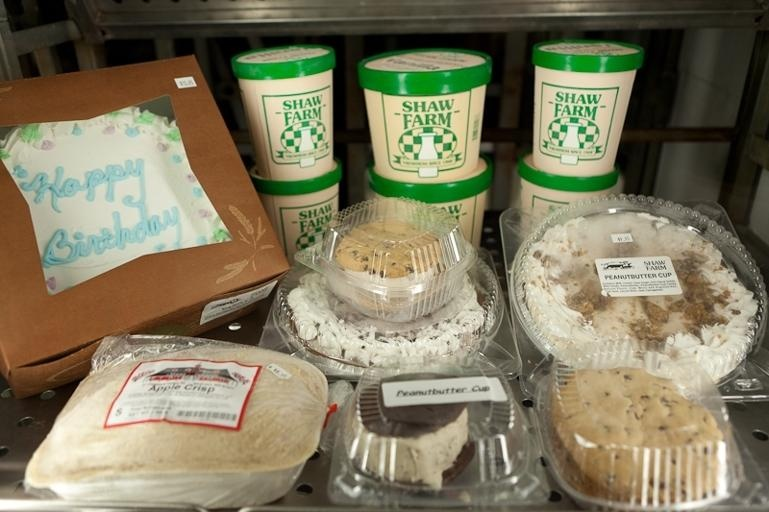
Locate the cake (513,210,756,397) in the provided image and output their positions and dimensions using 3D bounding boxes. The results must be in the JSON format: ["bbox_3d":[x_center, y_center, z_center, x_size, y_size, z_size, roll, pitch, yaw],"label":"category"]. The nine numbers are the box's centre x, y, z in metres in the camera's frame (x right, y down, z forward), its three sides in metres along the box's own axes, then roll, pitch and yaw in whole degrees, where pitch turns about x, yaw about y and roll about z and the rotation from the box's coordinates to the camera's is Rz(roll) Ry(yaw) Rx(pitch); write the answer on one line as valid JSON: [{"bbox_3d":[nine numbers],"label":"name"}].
[{"bbox_3d":[0.414,0.060,0.990,0.397,0.175,0.272,5,35,11],"label":"cake"}]

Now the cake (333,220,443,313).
[{"bbox_3d":[0.004,0.009,0.973,0.167,0.071,0.139,-15,36,-17],"label":"cake"}]

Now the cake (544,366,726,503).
[{"bbox_3d":[0.342,0.248,0.813,0.213,0.100,0.161,5,35,11],"label":"cake"}]

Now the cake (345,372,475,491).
[{"bbox_3d":[0.029,0.247,0.815,0.169,0.098,0.107,5,35,11],"label":"cake"}]
